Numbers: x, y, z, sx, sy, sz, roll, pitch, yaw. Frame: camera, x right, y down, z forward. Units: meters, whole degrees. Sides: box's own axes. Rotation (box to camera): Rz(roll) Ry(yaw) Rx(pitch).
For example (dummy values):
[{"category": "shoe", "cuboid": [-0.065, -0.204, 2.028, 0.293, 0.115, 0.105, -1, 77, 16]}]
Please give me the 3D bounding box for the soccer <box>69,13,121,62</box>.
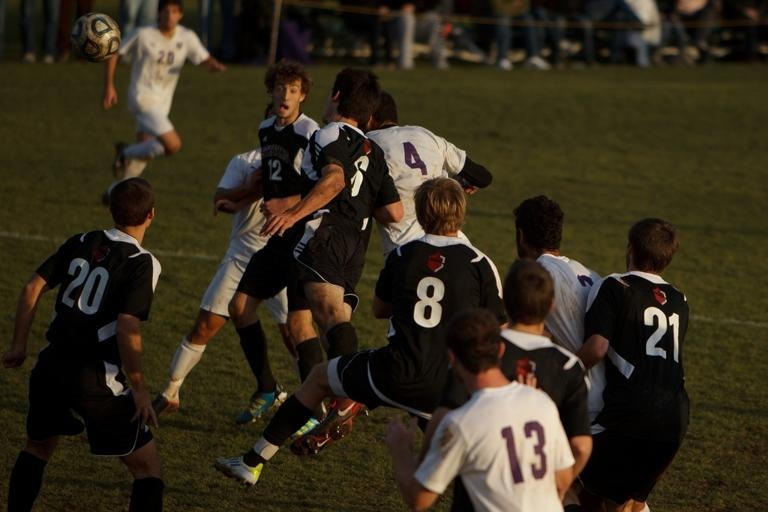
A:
[{"category": "soccer", "cuboid": [-3.449, -2.651, 14.680, 0.594, 0.603, 0.571, 23, -8, 0]}]
